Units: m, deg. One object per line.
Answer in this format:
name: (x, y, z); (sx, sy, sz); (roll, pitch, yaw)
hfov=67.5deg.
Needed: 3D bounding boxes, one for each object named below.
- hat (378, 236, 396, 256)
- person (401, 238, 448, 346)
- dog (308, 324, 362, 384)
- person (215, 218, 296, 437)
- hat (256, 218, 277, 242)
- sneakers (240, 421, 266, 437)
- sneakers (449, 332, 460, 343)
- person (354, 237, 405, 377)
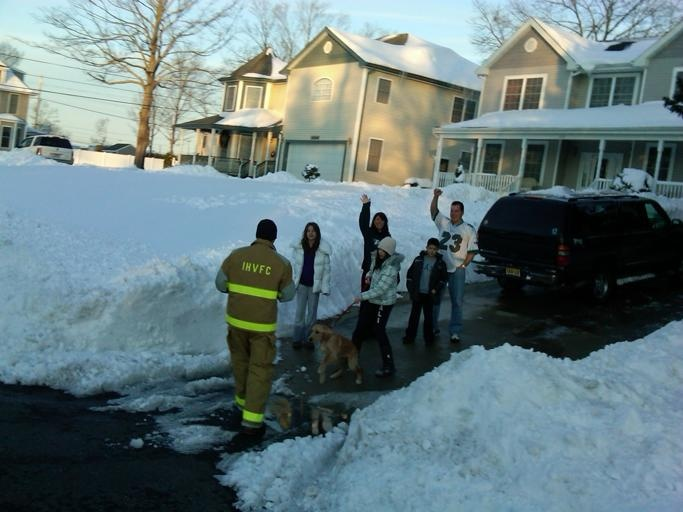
hat: (0.646, -0.127, 7.532); (0.224, 0.253, 0.288); (5, 5, 13)
person: (1.376, 0.610, 8.582); (0.714, 1.792, 0.562); (4, 4, -7)
dog: (-0.088, 1.355, 7.448); (0.789, 0.842, 0.875); (4, 4, -4)
person: (-1.019, 0.761, 5.944); (0.707, 2.336, 0.586); (7, 5, 34)
hat: (-0.862, -0.287, 6.083); (0.216, 0.254, 0.275); (8, 7, 10)
sneakers: (-0.988, 1.904, 5.753); (0.267, 0.163, 0.209); (3, 5, -11)
sneakers: (1.915, 1.401, 8.741); (0.176, 0.139, 0.180); (5, 5, 13)
person: (0.509, 0.725, 7.526); (0.655, 1.964, 0.559); (4, 4, 3)
